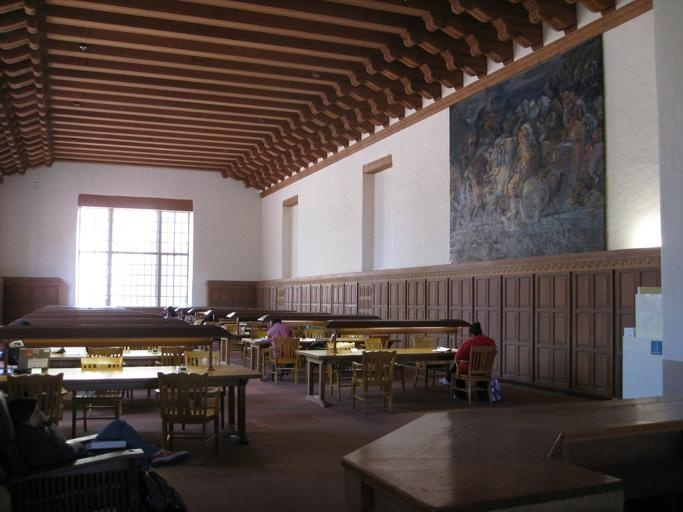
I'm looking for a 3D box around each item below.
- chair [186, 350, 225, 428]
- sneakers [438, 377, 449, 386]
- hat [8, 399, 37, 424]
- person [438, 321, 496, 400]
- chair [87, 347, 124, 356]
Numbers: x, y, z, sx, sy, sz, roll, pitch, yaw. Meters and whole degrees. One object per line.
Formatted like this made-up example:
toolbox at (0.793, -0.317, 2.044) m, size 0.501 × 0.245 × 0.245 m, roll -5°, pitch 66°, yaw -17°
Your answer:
chair at (-1.967, 1.867, 8.428) m, size 0.649 × 1.073 × 0.687 m, roll 10°, pitch -18°, yaw -29°
sneakers at (1.852, 2.308, 10.664) m, size 0.130 × 0.163 × 0.375 m, roll 1°, pitch 0°, yaw 7°
hat at (-2.511, 1.209, 4.622) m, size 0.172 × 0.185 × 0.187 m, roll 3°, pitch -2°, yaw -9°
person at (2.167, 1.819, 10.119) m, size 0.675 × 0.900 × 0.944 m, roll -4°, pitch 2°, yaw -12°
chair at (-3.741, 1.514, 9.283) m, size 0.399 × 0.145 × 0.319 m, roll 0°, pitch -7°, yaw -5°
